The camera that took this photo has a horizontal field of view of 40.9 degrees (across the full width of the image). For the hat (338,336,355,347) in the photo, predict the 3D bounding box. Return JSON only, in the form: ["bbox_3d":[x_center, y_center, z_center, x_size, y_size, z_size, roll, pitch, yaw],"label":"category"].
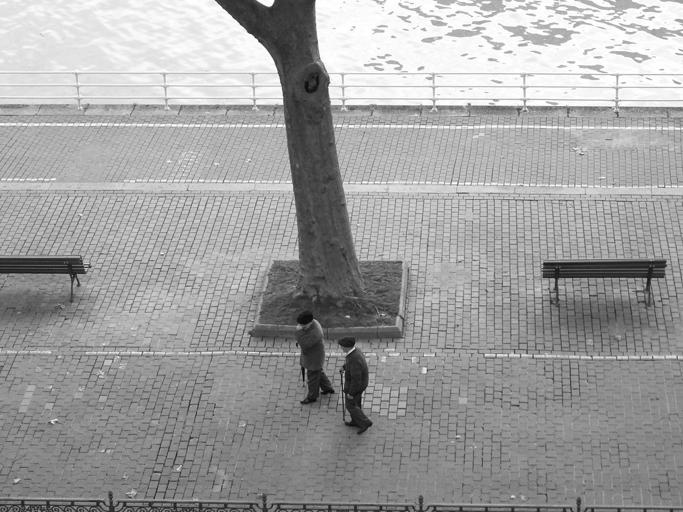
[{"bbox_3d":[0.100,1.422,15.222,0.370,0.159,0.423,0,3,-6],"label":"hat"}]

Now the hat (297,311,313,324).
[{"bbox_3d":[-0.603,1.059,15.625,0.249,0.124,0.194,-23,15,-29],"label":"hat"}]

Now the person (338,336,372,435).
[{"bbox_3d":[0.246,2.117,15.324,0.460,1.829,0.485,-3,21,1],"label":"person"}]

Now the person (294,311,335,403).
[{"bbox_3d":[-0.484,1.871,16.291,0.732,1.673,0.662,1,44,2],"label":"person"}]
